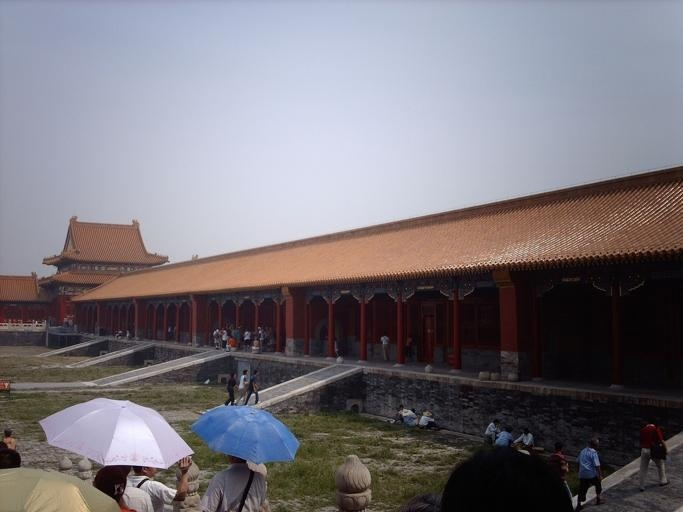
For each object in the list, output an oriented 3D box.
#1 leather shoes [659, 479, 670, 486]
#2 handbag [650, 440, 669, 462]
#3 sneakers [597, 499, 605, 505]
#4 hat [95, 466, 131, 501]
[{"bbox_3d":[4.984,3.495,9.914,0.155,0.103,0.051,-11,2,-24],"label":"leather shoes"},{"bbox_3d":[4.903,2.995,9.921,0.261,0.294,0.162,-1,-10,5],"label":"handbag"},{"bbox_3d":[3.933,3.718,9.766,0.113,0.105,0.068,7,-1,-32],"label":"sneakers"},{"bbox_3d":[-2.223,2.202,6.242,0.354,0.481,0.265,2,-8,-18],"label":"hat"}]
